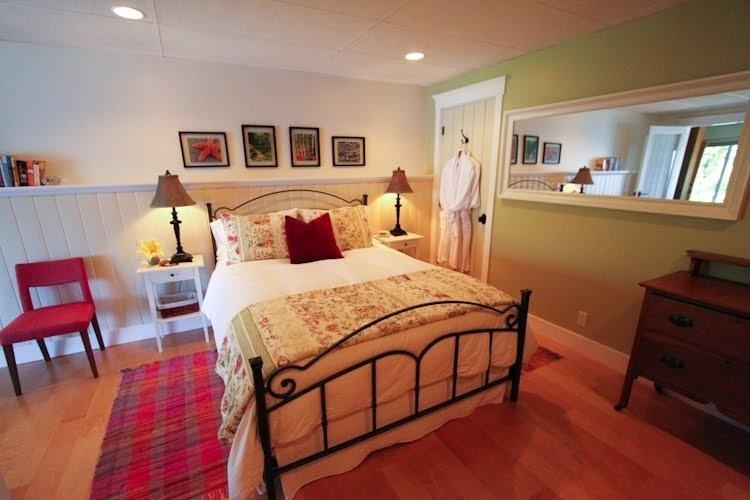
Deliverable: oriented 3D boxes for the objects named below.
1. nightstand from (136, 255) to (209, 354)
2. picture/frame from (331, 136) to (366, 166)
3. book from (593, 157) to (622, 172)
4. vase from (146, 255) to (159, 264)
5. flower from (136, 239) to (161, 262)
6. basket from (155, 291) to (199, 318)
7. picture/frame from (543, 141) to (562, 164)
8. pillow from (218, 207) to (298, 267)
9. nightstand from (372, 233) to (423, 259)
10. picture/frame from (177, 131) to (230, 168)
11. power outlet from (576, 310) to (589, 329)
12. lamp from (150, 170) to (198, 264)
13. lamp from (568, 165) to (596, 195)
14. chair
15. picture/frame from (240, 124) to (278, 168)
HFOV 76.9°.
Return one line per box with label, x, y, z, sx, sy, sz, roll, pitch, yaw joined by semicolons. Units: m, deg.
nightstand;-2.048;0.538;4.713;0.688;1.050;0.649;-8;17;-28
picture/frame;-0.331;-1.158;5.470;0.359;0.301;0.034;-6;23;-21
book;2.065;-0.766;4.221;0.139;0.093;0.145;-9;12;-32
vase;-2.164;0.082;4.605;0.085;0.087;0.086;12;15;37
flower;-2.195;-0.004;4.625;0.233;0.229;0.125;-26;-30;7
basket;-1.983;0.544;4.749;0.334;0.136;0.245;-9;15;-36
picture/frame;1.706;-0.938;4.537;0.031;0.223;0.184;-12;21;-36
pillow;-1.159;-0.105;4.663;0.720;0.449;0.198;-6;-11;-15
nightstand;0.235;-0.130;5.527;0.441;0.415;0.310;-15;27;-33
picture/frame;-1.786;-1.042;4.852;0.383;0.320;0.027;-4;12;-25
power outlet;1.966;0.652;4.479;0.021;0.204;0.116;-16;28;-33
lamp;-1.967;-0.331;4.645;0.402;0.886;0.380;-6;15;-20
lamp;1.871;-0.631;4.368;0.204;0.262;0.197;2;15;15
chair;-2.934;0.651;4.305;0.692;1.074;0.636;-6;15;-21
picture/frame;-1.262;-1.125;5.050;0.411;0.511;0.019;-11;24;-26
